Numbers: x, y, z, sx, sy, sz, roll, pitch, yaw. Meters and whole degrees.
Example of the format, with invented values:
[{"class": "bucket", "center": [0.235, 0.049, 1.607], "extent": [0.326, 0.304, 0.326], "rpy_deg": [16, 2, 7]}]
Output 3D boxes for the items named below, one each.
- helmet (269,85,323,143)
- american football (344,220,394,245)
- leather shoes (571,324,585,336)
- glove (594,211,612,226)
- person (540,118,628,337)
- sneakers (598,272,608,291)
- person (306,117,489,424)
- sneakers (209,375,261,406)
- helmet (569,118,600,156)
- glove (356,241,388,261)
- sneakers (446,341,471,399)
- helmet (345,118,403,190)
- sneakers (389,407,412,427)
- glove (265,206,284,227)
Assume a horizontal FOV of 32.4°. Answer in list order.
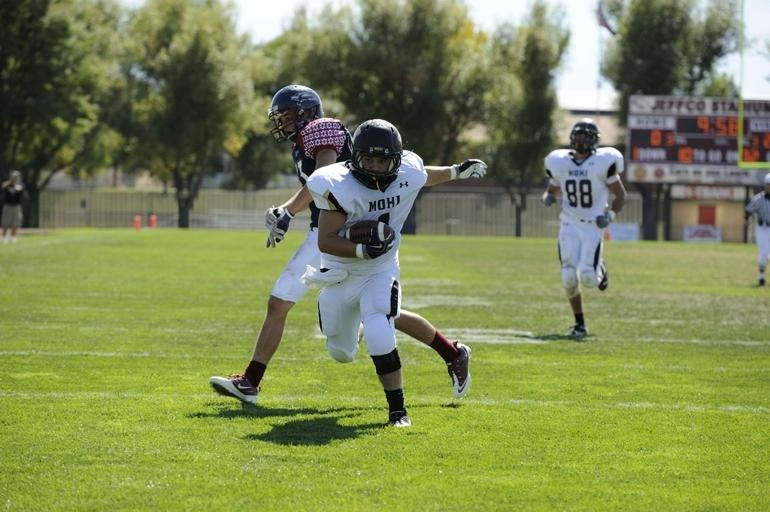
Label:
[{"class": "helmet", "center": [-0.659, -1.063, 9.893], "extent": [0.456, 0.376, 0.364], "rpy_deg": [-14, 6, -17]}, {"class": "american football", "center": [-0.108, -0.158, 9.018], "extent": [0.272, 0.141, 0.150], "rpy_deg": [-2, 14, -3]}, {"class": "leather shoes", "center": [1.699, 0.649, 11.455], "extent": [0.059, 0.096, 0.169], "rpy_deg": [-4, -5, 19]}, {"class": "glove", "center": [1.936, -0.322, 11.671], "extent": [0.118, 0.061, 0.154], "rpy_deg": [-34, -15, -26]}, {"class": "person", "center": [1.826, -0.283, 11.775], "extent": [0.670, 1.847, 0.865], "rpy_deg": [0, 6, -9]}, {"class": "sneakers", "center": [1.991, 0.238, 11.866], "extent": [0.068, 0.175, 0.083], "rpy_deg": [9, -24, 2]}, {"class": "person", "center": [-0.123, 0.101, 9.122], "extent": [0.806, 2.056, 0.555], "rpy_deg": [1, 6, 0]}, {"class": "sneakers", "center": [-1.027, 0.934, 9.427], "extent": [0.418, 0.183, 0.143], "rpy_deg": [25, -10, -6]}, {"class": "helmet", "center": [1.797, -1.043, 11.779], "extent": [0.276, 0.267, 0.335], "rpy_deg": [4, 15, 10]}, {"class": "glove", "center": [-0.090, -0.032, 8.975], "extent": [0.173, 0.094, 0.068], "rpy_deg": [-1, 4, 1]}, {"class": "sneakers", "center": [0.548, 0.816, 9.507], "extent": [0.177, 0.394, 0.141], "rpy_deg": [13, -17, -17]}, {"class": "helmet", "center": [-0.045, -0.707, 9.065], "extent": [0.398, 0.435, 0.476], "rpy_deg": [4, 24, -8]}, {"class": "sneakers", "center": [0.110, 1.090, 9.012], "extent": [0.155, 0.114, 0.159], "rpy_deg": [1, 5, 0]}, {"class": "glove", "center": [-0.767, -0.283, 9.379], "extent": [0.132, 0.115, 0.123], "rpy_deg": [0, 5, -5]}]
